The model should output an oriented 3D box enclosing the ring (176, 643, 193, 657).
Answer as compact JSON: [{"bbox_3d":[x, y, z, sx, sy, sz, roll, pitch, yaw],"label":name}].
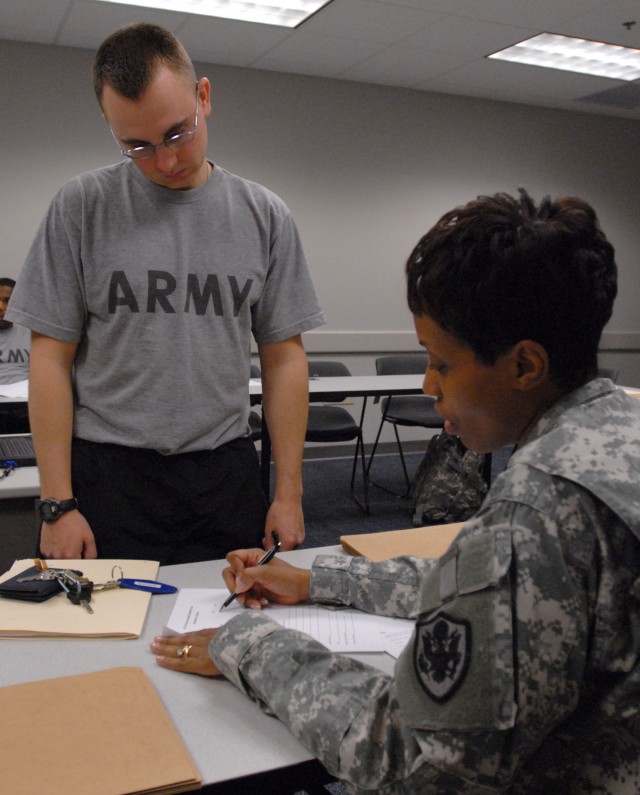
[{"bbox_3d":[-0.180,0.334,0.958,0.015,0.016,0.018,3,-28,-12],"label":"ring"}]

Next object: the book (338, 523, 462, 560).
[{"bbox_3d":[0.158,0.284,1.412,0.158,0.015,0.134,-2,12,-2],"label":"book"}]

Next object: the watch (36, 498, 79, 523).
[{"bbox_3d":[-0.496,0.209,1.356,0.063,0.036,0.063,-9,-6,39],"label":"watch"}]
